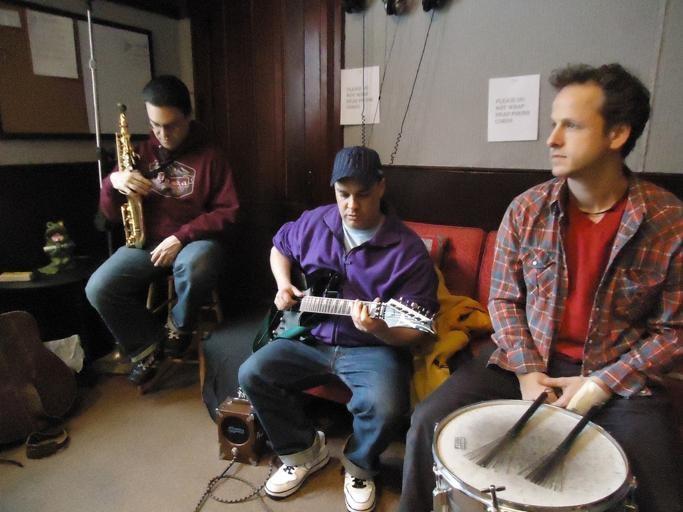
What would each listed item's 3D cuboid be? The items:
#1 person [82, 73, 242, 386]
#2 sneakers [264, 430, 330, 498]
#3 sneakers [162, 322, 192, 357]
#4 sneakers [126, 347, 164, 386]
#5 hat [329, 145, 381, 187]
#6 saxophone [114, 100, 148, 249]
[{"bbox_3d":[-0.978,-0.150,2.929,0.816,1.632,0.647,-5,19,-11],"label":"person"},{"bbox_3d":[-0.173,0.930,2.419,0.138,0.177,0.381,14,25,35],"label":"sneakers"},{"bbox_3d":[-0.913,0.472,2.881,0.096,0.203,0.193,-5,12,-43],"label":"sneakers"},{"bbox_3d":[-1.053,0.596,2.882,0.285,0.116,0.086,-8,-9,0],"label":"sneakers"},{"bbox_3d":[0.069,-0.404,2.367,0.231,0.201,0.338,1,5,19],"label":"hat"},{"bbox_3d":[-1.167,-0.423,2.919,0.140,0.906,0.230,-2,1,-4],"label":"saxophone"}]
